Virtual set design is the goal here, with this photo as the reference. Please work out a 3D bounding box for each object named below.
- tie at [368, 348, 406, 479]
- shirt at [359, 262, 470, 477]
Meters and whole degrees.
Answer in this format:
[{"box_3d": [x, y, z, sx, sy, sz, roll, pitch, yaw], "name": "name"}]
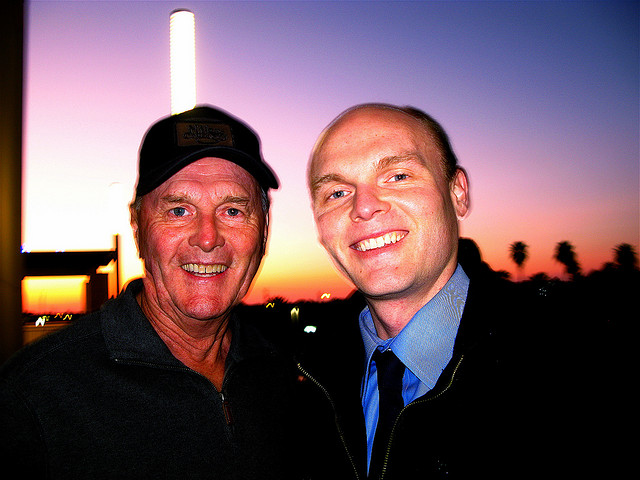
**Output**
[{"box_3d": [0.458, 1.076, 3.897, 0.272, 0.823, 0.194, 30, -37, -35], "name": "tie"}, {"box_3d": [0.627, 0.861, 3.924, 0.685, 1.273, 0.309, -1, -19, 30], "name": "shirt"}]
